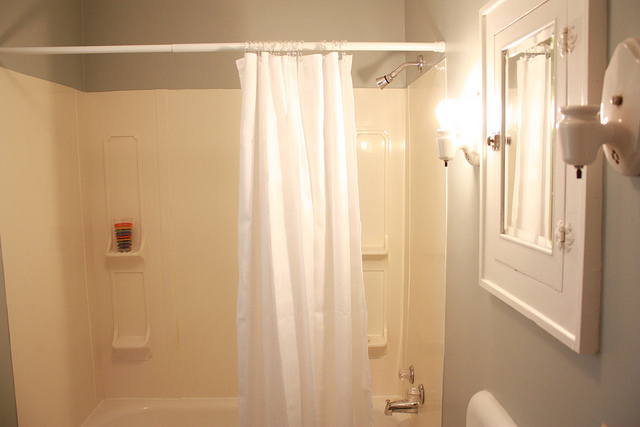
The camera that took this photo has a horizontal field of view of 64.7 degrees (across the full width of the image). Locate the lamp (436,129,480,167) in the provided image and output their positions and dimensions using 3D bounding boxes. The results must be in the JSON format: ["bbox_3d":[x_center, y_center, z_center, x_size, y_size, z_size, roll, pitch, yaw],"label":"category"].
[{"bbox_3d":[0.675,-0.303,2.429,0.236,0.170,0.097,7,-4,-10],"label":"lamp"}]

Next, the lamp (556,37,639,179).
[{"bbox_3d":[0.962,-0.361,1.756,0.263,0.463,0.118,-1,7,18],"label":"lamp"}]

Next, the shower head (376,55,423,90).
[{"bbox_3d":[0.449,-0.785,2.827,0.286,0.124,0.064,-2,13,38],"label":"shower head"}]

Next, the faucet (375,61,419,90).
[{"bbox_3d":[0.466,-0.813,2.985,0.223,0.169,0.538,-2,7,11],"label":"faucet"}]

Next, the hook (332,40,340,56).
[{"bbox_3d":[0.088,-0.854,2.621,0.031,0.062,0.102,-2,7,9],"label":"hook"}]

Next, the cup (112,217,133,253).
[{"bbox_3d":[-1.327,0.148,3.393,0.134,0.231,0.112,-4,7,-10],"label":"cup"}]

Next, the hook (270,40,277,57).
[{"bbox_3d":[-0.247,-0.831,2.573,0.037,0.072,0.027,0,8,21],"label":"hook"}]

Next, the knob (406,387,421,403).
[{"bbox_3d":[0.555,1.083,3.017,0.067,0.054,0.069,1,3,39],"label":"knob"}]

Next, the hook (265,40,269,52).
[{"bbox_3d":[-0.268,-0.856,2.592,0.015,0.045,0.030,-3,6,-33],"label":"hook"}]

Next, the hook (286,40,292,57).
[{"bbox_3d":[-0.161,-0.842,2.594,0.026,0.078,0.074,2,17,-2],"label":"hook"}]

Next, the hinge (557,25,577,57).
[{"bbox_3d":[0.921,-0.648,1.888,0.017,0.087,0.083,-1,21,-19],"label":"hinge"}]

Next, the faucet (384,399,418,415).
[{"bbox_3d":[0.479,1.136,2.971,0.237,0.102,0.077,0,-6,-12],"label":"faucet"}]

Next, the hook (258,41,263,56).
[{"bbox_3d":[-0.308,-0.835,2.571,0.018,0.055,0.042,6,14,1],"label":"hook"}]

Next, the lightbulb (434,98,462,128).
[{"bbox_3d":[0.652,-0.491,2.495,0.098,0.141,0.182,3,10,42],"label":"lightbulb"}]
